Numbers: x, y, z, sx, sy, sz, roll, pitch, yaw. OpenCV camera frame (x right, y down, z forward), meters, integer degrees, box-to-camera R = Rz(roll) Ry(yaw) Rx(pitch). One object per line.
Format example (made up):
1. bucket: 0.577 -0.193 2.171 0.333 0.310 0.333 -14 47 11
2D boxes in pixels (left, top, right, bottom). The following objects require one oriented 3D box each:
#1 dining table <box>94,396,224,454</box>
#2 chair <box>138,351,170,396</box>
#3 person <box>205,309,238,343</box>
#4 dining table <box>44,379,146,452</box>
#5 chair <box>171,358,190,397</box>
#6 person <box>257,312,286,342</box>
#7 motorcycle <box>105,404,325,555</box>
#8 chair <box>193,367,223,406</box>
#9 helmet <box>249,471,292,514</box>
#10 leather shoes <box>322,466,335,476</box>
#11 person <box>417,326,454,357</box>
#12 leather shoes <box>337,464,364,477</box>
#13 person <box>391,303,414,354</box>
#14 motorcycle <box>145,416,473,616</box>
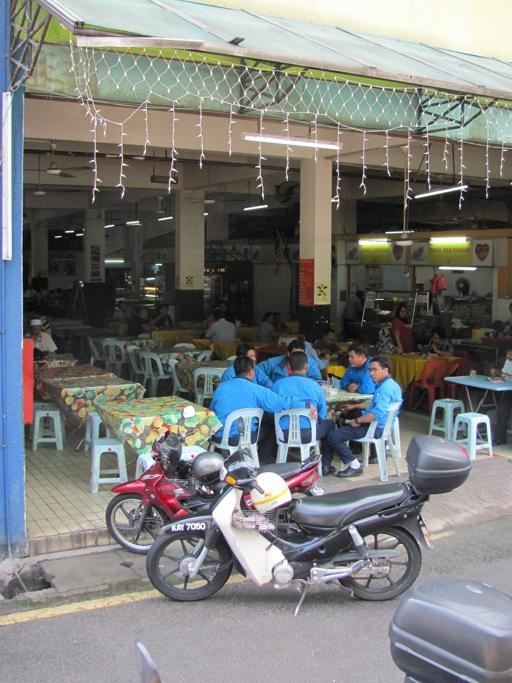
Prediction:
1. dining table: -1.040 0.681 5.341 0.860 0.221 0.785 -2 11 -27
2. chair: -1.841 0.577 10.251 0.410 0.801 0.749 0 4 -21
3. person: -0.761 -0.367 12.596 0.642 0.715 0.984 0 3 -14
4. dining table: -1.785 0.798 6.243 0.657 0.266 1.122 -5 16 -23
5. chair: -1.315 0.666 9.796 0.337 0.660 1.087 1 3 -9
6. person: 0.370 -0.346 13.261 0.581 0.673 1.429 1 3 3
7. motorcycle: -0.299 1.056 4.051 1.664 0.967 0.690 -3 6 5
8. chair: -0.679 0.606 8.053 0.481 0.764 0.491 0 21 -6
9. helmet: 0.071 0.883 3.364 0.241 0.233 0.187 -16 -22 -21
10. leather shoes: 0.812 1.417 6.313 0.061 0.115 0.177 6 17 28
11. person: 3.262 0.037 10.420 0.455 0.817 0.620 4 -3 -12
12. leather shoes: 1.030 1.418 6.236 0.318 0.137 0.112 -3 3 -8
13. person: 2.898 -0.273 11.170 0.416 0.932 0.791 2 4 14
14. motorcycle: 0.314 1.122 3.512 1.940 1.023 0.680 -1 4 2
